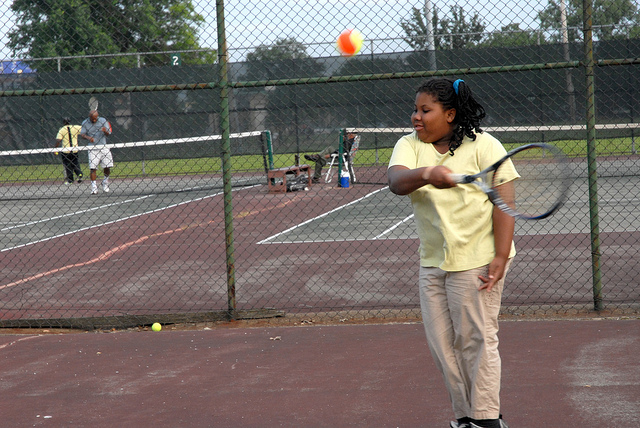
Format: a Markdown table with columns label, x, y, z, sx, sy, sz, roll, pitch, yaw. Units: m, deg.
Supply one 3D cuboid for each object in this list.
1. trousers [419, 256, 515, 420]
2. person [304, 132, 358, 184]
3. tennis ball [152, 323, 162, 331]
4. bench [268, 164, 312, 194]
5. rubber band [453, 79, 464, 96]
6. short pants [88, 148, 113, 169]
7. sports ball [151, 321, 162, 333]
| label | x | y | z | sx | sy | sz | roll | pitch | yaw |
| --- | --- | --- | --- | --- | --- | --- | --- | --- | --- |
| trousers | 1.221 | 1.112 | 6.779 | 0.695 | 1.359 | 0.395 | -1 | 13 | 7 |
| person | 0.241 | -1.604 | 21.730 | 1.369 | 1.319 | 1.166 | 0 | 13 | -9 |
| tennis ball | -1.966 | 1.353 | 9.313 | 0.077 | 0.078 | 0.080 | 4 | -26 | 2 |
| bench | -0.890 | -0.959 | 20.768 | 0.816 | 0.683 | 1.288 | 6 | 15 | 31 |
| rubber band | 1.181 | -1.102 | 6.750 | 0.095 | 0.117 | 0.119 | 1 | 11 | 7 |
| short pants | -6.098 | -1.546 | 21.477 | 0.622 | 0.616 | 0.672 | -7 | 14 | -21 |
| sports ball | -1.978 | 1.352 | 9.311 | 0.093 | 0.109 | 0.094 | -5 | -7 | -1 |
